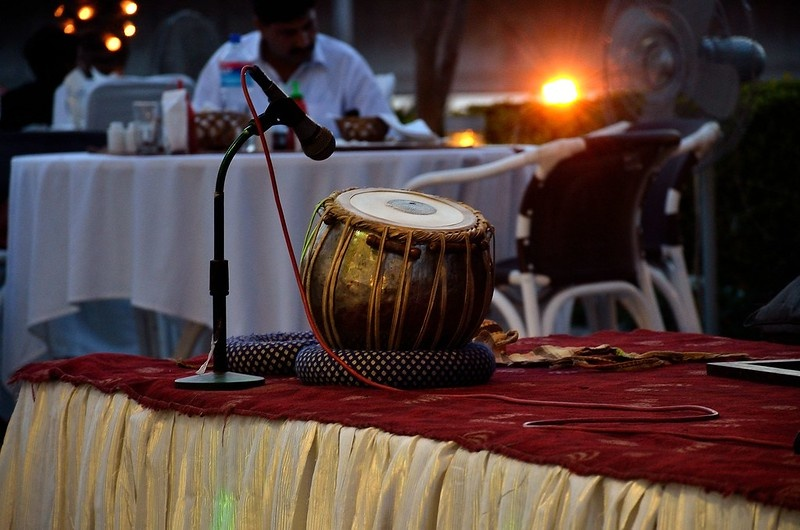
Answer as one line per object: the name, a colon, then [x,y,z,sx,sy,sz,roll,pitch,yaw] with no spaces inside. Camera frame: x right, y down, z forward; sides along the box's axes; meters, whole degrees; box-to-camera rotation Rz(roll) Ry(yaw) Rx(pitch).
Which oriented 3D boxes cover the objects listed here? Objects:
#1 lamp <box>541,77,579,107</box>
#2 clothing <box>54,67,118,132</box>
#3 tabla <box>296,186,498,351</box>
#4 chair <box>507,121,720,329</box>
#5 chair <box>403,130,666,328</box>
lamp: [0.481,-0.521,2.977,0.124,0.084,0.061,-3,12,-6]
clothing: [-1.564,-0.807,4.783,0.249,0.279,0.876,-6,13,-19]
tabla: [-0.015,0.014,2.330,0.375,0.306,0.395,12,3,17]
chair: [0.709,-0.151,3.425,0.547,0.809,0.604,-1,4,-1]
chair: [0.504,-0.139,3.506,0.696,0.946,0.656,-11,22,-23]
